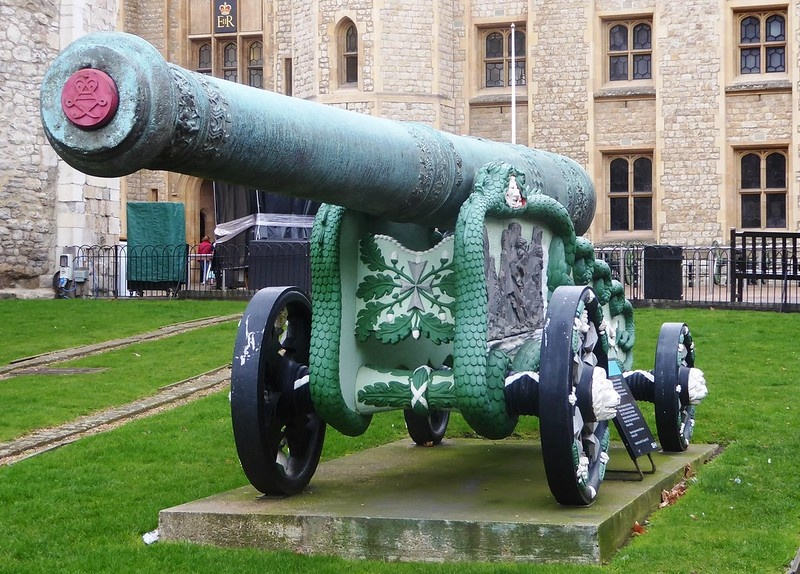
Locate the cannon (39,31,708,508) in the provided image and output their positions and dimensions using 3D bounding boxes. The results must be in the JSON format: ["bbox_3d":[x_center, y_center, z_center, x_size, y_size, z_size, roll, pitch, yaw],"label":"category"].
[{"bbox_3d":[0.244,-0.128,6.228,2.203,2.313,4.541,0,-1,31],"label":"cannon"}]

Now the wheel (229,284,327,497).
[{"bbox_3d":[-0.803,0.739,6.432,0.362,1.288,1.341,0,-6,16],"label":"wheel"}]

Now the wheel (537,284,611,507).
[{"bbox_3d":[1.131,0.727,6.069,0.275,1.084,1.134,-4,-16,18],"label":"wheel"}]

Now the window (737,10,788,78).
[{"bbox_3d":[9.890,-6.602,25.422,1.635,2.467,0.245,2,4,26],"label":"window"}]

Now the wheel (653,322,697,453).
[{"bbox_3d":[2.208,0.839,7.512,0.243,0.966,0.880,0,-8,19],"label":"wheel"}]

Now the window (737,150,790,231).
[{"bbox_3d":[9.836,-2.627,25.423,1.165,2.055,0.581,2,9,31],"label":"window"}]

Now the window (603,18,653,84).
[{"bbox_3d":[6.553,-6.740,26.736,1.681,2.526,0.198,0,-2,23],"label":"window"}]

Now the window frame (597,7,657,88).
[{"bbox_3d":[6.500,-6.808,26.627,2.113,3.119,0.323,0,9,18],"label":"window frame"}]

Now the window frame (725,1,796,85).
[{"bbox_3d":[9.780,-6.595,25.312,2.028,3.117,0.294,2,5,26],"label":"window frame"}]

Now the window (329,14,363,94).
[{"bbox_3d":[-1.327,-6.741,26.988,0.602,1.834,0.202,10,23,32],"label":"window"}]
